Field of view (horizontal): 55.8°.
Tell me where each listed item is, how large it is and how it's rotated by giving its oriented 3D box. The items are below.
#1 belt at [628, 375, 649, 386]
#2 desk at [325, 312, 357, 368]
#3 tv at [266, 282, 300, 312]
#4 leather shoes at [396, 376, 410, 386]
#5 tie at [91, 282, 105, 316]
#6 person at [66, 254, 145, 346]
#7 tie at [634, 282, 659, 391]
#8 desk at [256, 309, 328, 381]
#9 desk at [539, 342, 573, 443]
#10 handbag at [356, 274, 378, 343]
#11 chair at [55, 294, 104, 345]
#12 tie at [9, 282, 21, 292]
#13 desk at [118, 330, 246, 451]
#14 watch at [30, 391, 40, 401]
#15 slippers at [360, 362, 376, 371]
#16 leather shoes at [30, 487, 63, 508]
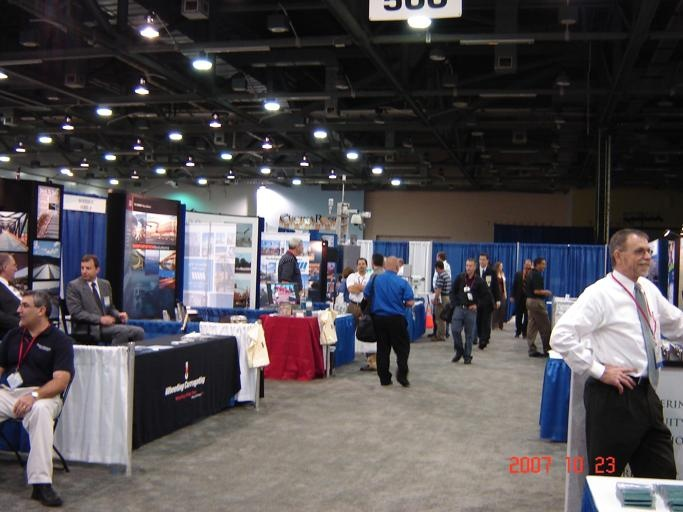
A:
[{"bbox_3d":[1.813,0.742,3.914,0.064,0.056,0.067,2,-4,-20],"label":"belt"},{"bbox_3d":[-0.168,1.326,10.133,0.531,0.775,0.975,-4,1,16],"label":"desk"},{"bbox_3d":[-0.831,0.580,9.407,0.495,0.395,0.307,3,3,35],"label":"tv"},{"bbox_3d":[0.824,1.645,8.595,0.162,0.140,0.246,2,2,5],"label":"leather shoes"},{"bbox_3d":[-3.033,0.527,8.071,0.068,0.464,0.109,-14,0,-2],"label":"tie"},{"bbox_3d":[-2.925,0.736,8.093,0.822,1.587,0.686,-6,-7,8],"label":"person"},{"bbox_3d":[1.881,0.473,3.995,0.091,0.737,0.036,-10,-13,22],"label":"tie"},{"bbox_3d":[-0.714,1.197,8.983,0.771,0.808,0.808,0,0,17],"label":"desk"},{"bbox_3d":[2.121,1.421,6.463,0.293,0.963,0.335,-1,6,18],"label":"desk"},{"bbox_3d":[0.412,0.733,8.713,0.214,0.961,0.355,5,-8,34],"label":"handbag"},{"bbox_3d":[-3.206,0.746,7.888,0.582,0.768,0.520,0,-1,14],"label":"chair"},{"bbox_3d":[-3.707,0.348,7.335,0.026,0.108,0.107,-39,-7,-10],"label":"tie"},{"bbox_3d":[-1.484,1.348,6.577,1.393,0.741,0.516,-16,-28,21],"label":"desk"},{"bbox_3d":[-2.425,1.103,5.115,0.051,0.056,0.051,0,2,-31],"label":"watch"},{"bbox_3d":[0.397,1.673,9.775,0.221,0.186,0.102,3,-10,11],"label":"slippers"},{"bbox_3d":[-2.210,1.778,4.854,0.268,0.142,0.110,1,-3,28],"label":"leather shoes"}]
